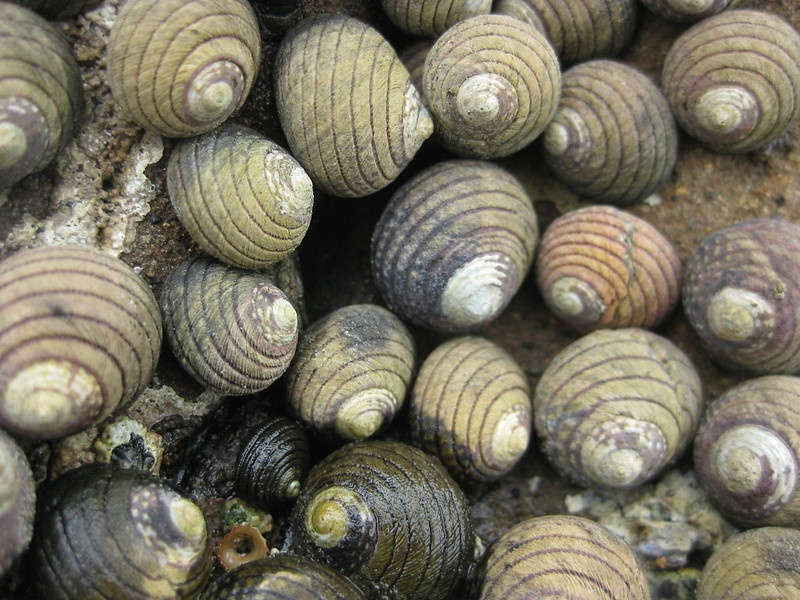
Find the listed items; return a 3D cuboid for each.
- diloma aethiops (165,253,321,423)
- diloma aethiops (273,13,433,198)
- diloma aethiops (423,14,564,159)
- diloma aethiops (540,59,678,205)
[{"bbox_3d":[-0.740,0.132,3.977,0.559,0.642,0.363,15,-19,-34],"label":"diloma aethiops"},{"bbox_3d":[-0.241,-0.994,4.398,0.784,0.938,0.768,28,-50,32],"label":"diloma aethiops"},{"bbox_3d":[0.420,-1.011,4.138,0.580,0.282,0.649,-11,-71,4],"label":"diloma aethiops"},{"bbox_3d":[1.041,-0.815,4.343,0.609,0.420,0.719,-4,-75,21],"label":"diloma aethiops"}]
